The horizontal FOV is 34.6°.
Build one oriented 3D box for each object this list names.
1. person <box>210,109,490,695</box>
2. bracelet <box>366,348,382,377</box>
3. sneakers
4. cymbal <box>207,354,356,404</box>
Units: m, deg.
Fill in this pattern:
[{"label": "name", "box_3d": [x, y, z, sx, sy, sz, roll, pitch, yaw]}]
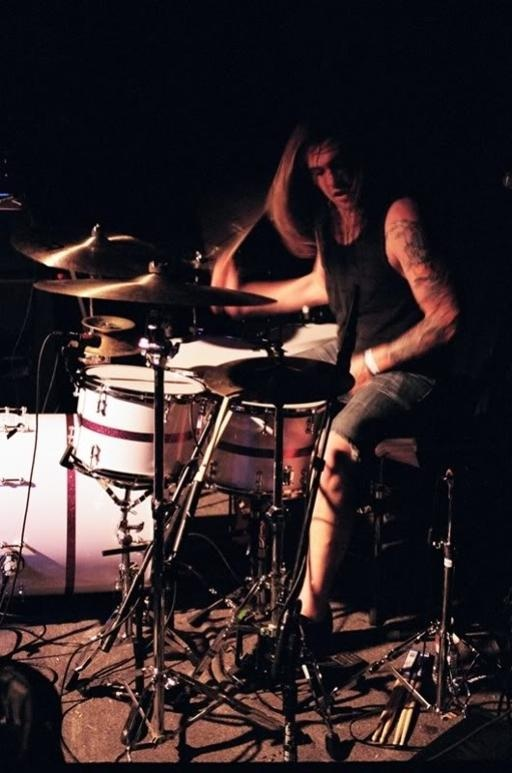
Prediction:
[{"label": "person", "box_3d": [0.304, -0.023, 3.404, 1.144, 2.064, 1.131, 3, 8, 26]}, {"label": "bracelet", "box_3d": [0.457, -0.095, 3.273, 0.024, 0.089, 0.093, -26, 34, -3]}, {"label": "sneakers", "box_3d": [0.103, 0.915, 2.855, 0.234, 0.108, 0.305, -3, 7, 32]}, {"label": "cymbal", "box_3d": [0.069, -0.027, 2.552, 0.455, 0.194, 0.282, 6, -9, 0]}]
